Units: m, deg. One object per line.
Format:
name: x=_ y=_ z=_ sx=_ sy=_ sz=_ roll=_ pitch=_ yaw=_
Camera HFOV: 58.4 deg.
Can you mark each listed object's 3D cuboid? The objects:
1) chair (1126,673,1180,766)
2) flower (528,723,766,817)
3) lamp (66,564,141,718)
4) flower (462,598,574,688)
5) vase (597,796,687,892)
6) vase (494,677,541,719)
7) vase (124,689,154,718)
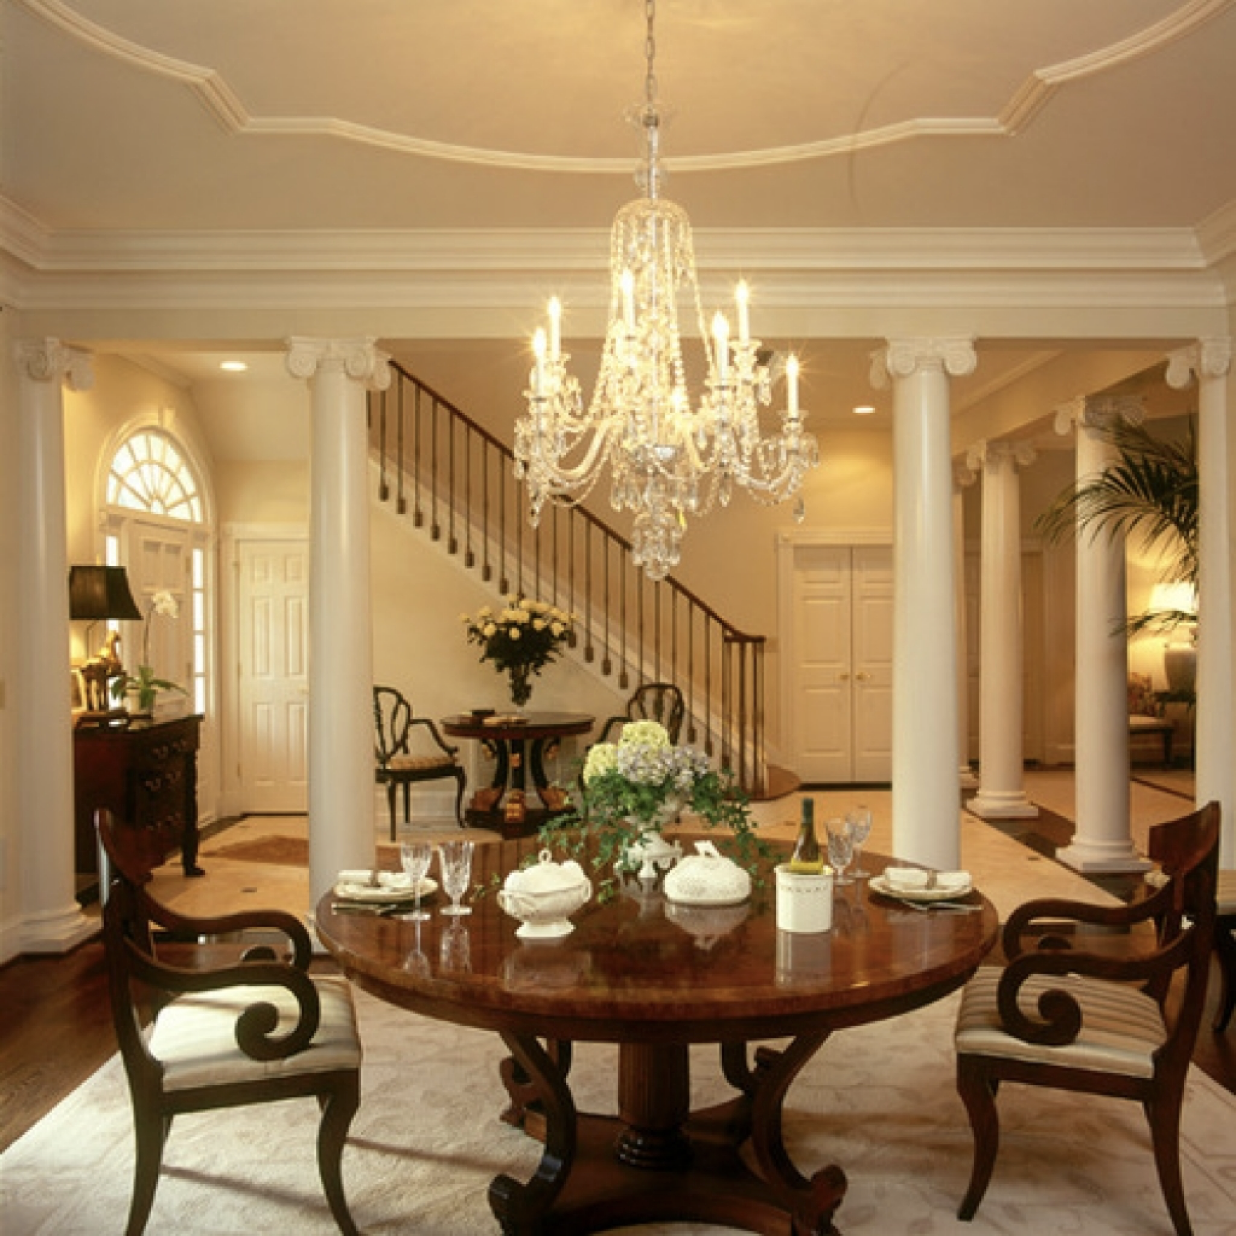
chair: x=5.286 y=1.013 z=10.911 sx=0.438 sy=0.789 sz=1.040 roll=1 pitch=2 yaw=28
flower: x=0.118 y=0.424 z=3.059 sx=0.460 sy=0.240 sz=0.327 roll=1 pitch=1 yaw=-3
lamp: x=-2.772 y=0.113 z=5.953 sx=0.324 sy=0.783 sz=0.965 roll=0 pitch=2 yaw=-24
flower: x=-0.648 y=0.106 z=7.429 sx=0.593 sy=0.603 sz=0.642 roll=0 pitch=6 yaw=16
vase: x=0.069 y=0.613 z=3.012 sx=0.214 sy=0.193 sz=0.237 roll=-1 pitch=1 yaw=-3
vase: x=-0.686 y=0.531 z=7.545 sx=0.267 sy=0.417 sz=0.281 roll=1 pitch=-6 yaw=1
vase: x=-2.672 y=0.479 z=6.167 sx=0.156 sy=0.176 sz=0.175 roll=1 pitch=-8 yaw=-21
